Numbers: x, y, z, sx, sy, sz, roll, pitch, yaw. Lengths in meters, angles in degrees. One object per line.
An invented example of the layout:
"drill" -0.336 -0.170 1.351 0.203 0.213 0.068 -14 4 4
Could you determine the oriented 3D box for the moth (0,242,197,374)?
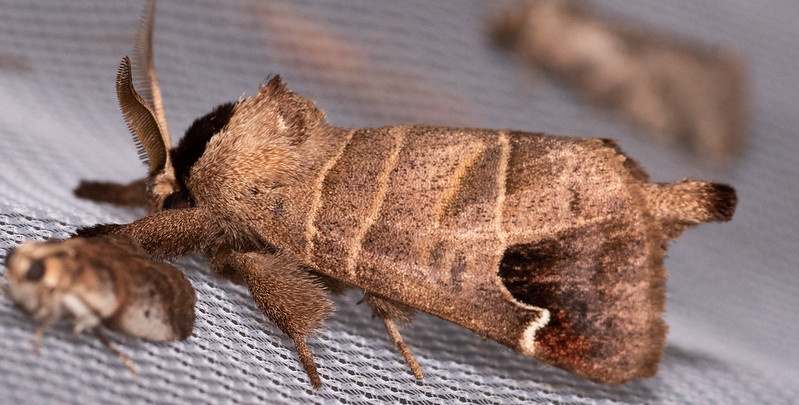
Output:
"moth" -0.854 0.268 2.865 0.546 0.171 0.357 13 58 -1
